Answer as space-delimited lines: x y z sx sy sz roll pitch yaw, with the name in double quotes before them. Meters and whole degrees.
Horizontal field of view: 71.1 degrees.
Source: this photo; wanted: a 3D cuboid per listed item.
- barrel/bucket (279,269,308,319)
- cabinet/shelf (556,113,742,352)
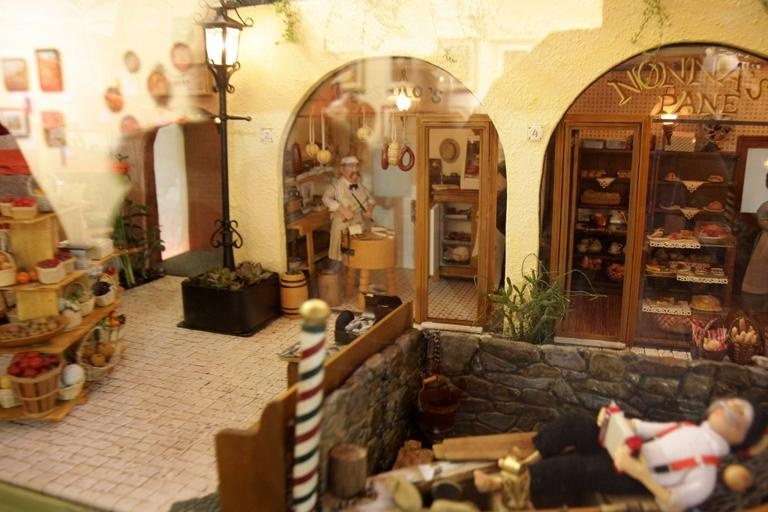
"barrel/bucket" -1.569 0.654 9.362 0.477 0.772 0.349 -1 11 -11
"cabinet/shelf" 4.130 -0.462 8.757 2.791 3.371 2.578 4 11 15
